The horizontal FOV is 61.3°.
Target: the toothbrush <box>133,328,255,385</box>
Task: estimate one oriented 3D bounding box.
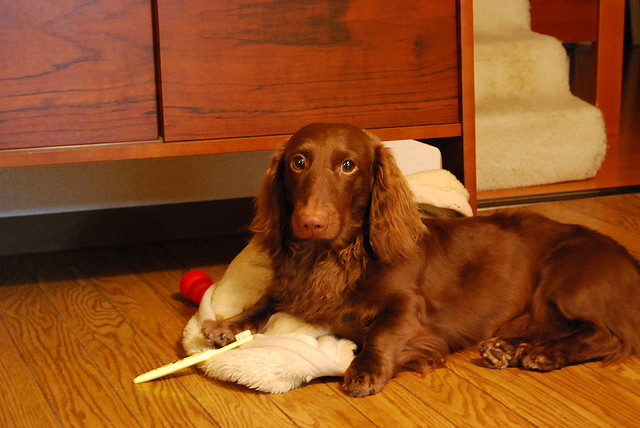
[{"bbox_3d":[-0.488,0.563,2.113,0.491,0.046,0.065,-17,17,-16],"label":"toothbrush"}]
